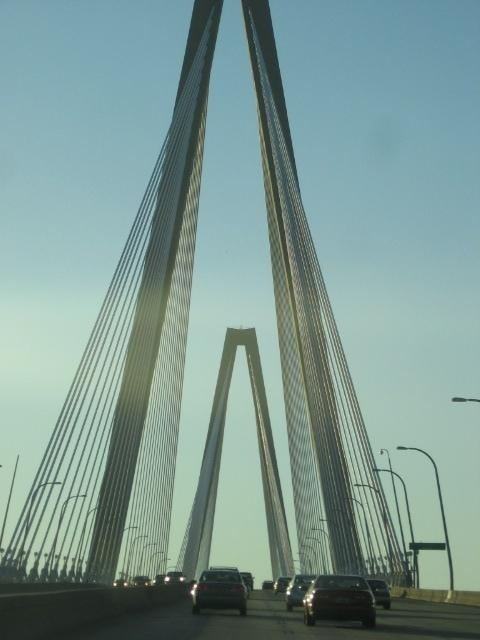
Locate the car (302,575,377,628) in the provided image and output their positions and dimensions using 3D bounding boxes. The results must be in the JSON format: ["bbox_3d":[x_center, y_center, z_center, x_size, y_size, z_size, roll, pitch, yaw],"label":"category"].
[{"bbox_3d":[1.931,5.499,11.117,1.349,1.029,1.269,-12,-31,21],"label":"car"}]

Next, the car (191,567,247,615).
[{"bbox_3d":[-0.519,7.175,14.944,0.892,0.964,2.442,1,-23,1],"label":"car"}]
